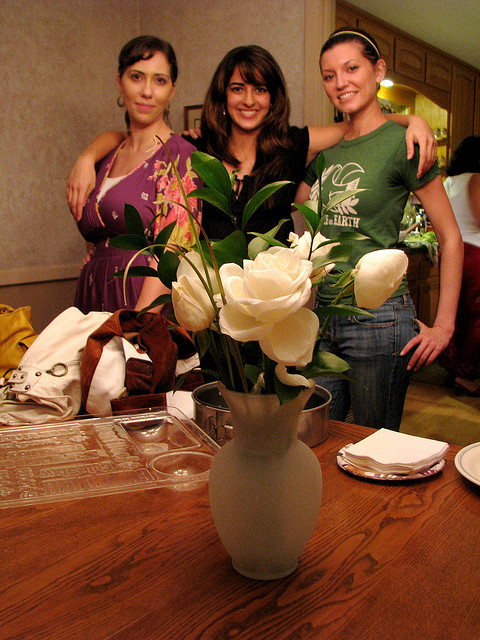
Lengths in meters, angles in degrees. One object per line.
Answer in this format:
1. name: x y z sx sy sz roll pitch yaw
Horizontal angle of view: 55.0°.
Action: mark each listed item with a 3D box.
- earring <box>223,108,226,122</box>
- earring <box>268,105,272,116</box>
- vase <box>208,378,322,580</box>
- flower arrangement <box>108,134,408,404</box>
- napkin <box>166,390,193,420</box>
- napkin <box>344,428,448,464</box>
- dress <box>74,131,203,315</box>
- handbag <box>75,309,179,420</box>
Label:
1. earring: -0.057 -0.750 1.685 0.003 0.038 0.014 1 4 35
2. earring: 0.109 -0.753 1.651 0.009 0.020 0.027 1 51 9
3. vase: 0.029 0.161 0.441 0.102 0.209 0.105 -2 3 -20
4. flower arrangement: 0.037 -0.049 0.458 0.284 0.294 0.203 -8 15 -20
5. napkin: -0.125 0.165 0.920 0.066 0.037 0.066 1 7 -2
6. napkin: 0.250 0.205 0.740 0.115 0.013 0.131 2 4 45
7. dress: -0.365 -0.320 1.715 0.300 0.750 0.532 -26 36 -38
8. handbag: -0.223 0.080 0.974 0.213 0.270 0.107 2 -21 7
